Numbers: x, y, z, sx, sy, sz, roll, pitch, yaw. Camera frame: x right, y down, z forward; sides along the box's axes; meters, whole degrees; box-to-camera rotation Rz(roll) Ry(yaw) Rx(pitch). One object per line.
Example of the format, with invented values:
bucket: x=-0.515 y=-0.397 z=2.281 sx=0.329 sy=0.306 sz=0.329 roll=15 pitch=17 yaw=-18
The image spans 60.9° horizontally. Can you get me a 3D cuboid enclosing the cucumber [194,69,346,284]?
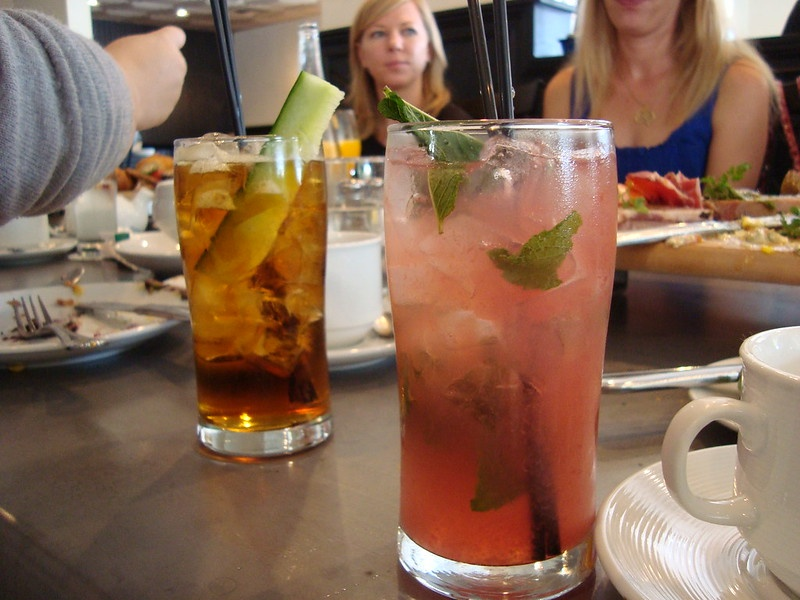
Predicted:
cucumber: x=-0.126 y=-0.119 z=0.710 sx=0.088 sy=0.289 sz=0.043 roll=28 pitch=-5 yaw=-19

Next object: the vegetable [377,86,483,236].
vegetable: x=0.021 y=-0.110 z=0.519 sx=0.052 sy=0.101 sz=0.076 roll=-13 pitch=24 yaw=-20

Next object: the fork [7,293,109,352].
fork: x=-0.460 y=0.005 z=0.893 sx=0.067 sy=0.044 sz=0.297 roll=-14 pitch=14 yaw=-32
